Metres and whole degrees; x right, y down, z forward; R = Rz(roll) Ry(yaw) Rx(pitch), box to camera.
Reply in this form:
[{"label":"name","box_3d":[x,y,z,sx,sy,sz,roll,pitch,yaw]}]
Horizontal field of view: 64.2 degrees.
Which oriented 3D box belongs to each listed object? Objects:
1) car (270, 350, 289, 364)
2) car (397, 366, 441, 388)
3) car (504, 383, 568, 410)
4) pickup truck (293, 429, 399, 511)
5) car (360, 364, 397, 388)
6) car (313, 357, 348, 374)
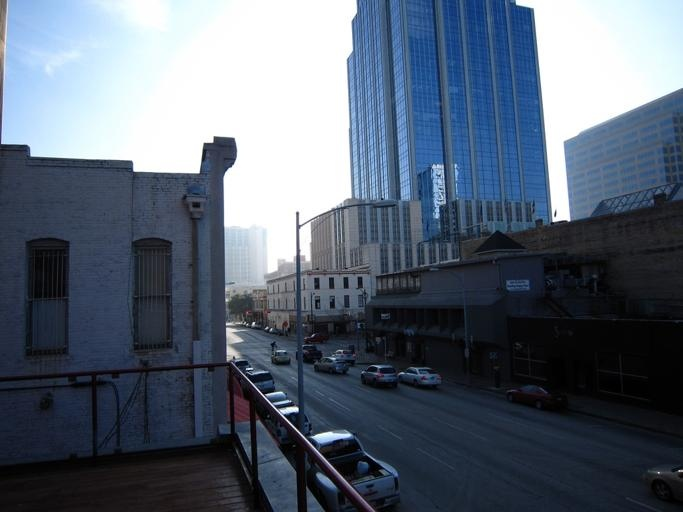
[{"label":"car","box_3d":[-5.468,9.043,48.887,0.856,0.861,1.591,2,-2,-15]},{"label":"car","box_3d":[5.124,7.860,35.913,1.103,0.949,2.725,4,-4,-20]},{"label":"car","box_3d":[10.498,7.510,29.114,1.064,0.842,2.323,5,-5,-26]},{"label":"pickup truck","box_3d":[-0.008,7.569,18.200,2.472,2.217,4.760,1,-4,-22]},{"label":"car","box_3d":[2.462,7.847,35.903,1.138,1.112,2.173,5,-4,-22]},{"label":"car","box_3d":[-0.846,8.616,43.378,1.164,0.879,2.423,4,-3,-37]}]
